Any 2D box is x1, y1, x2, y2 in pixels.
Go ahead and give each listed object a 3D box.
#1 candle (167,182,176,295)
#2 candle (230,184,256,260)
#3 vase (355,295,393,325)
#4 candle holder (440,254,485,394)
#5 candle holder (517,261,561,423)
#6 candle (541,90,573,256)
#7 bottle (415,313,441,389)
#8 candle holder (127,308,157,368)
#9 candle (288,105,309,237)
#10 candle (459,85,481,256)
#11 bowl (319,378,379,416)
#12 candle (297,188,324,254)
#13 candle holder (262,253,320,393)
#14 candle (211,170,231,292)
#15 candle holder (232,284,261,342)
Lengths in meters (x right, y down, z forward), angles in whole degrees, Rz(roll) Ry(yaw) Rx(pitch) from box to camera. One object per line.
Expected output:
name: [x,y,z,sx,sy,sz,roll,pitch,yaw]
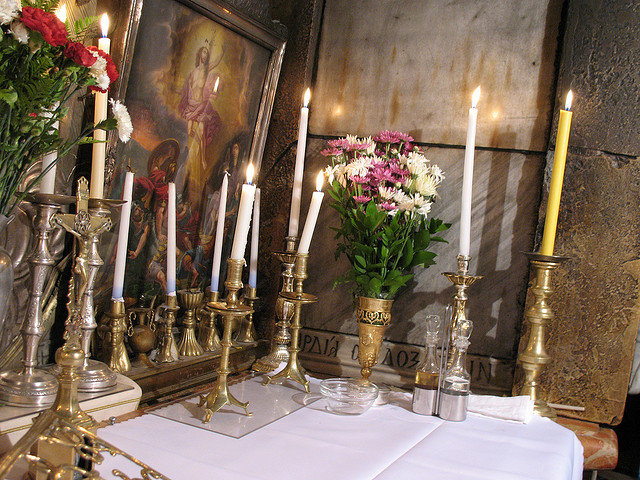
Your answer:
candle: [-0.455,-0.002,1.917,0.023,0.340,0.048,0,12,-19]
candle: [-0.198,-0.044,1.590,0.055,0.198,0.055,1,12,-5]
vase: [0.170,0.224,1.986,0.085,0.083,0.096,5,-9,-1]
candle holder: [0.451,0.263,2.008,0.117,0.407,0.116,1,-7,33]
candle holder: [0.681,0.307,2.024,0.116,0.559,0.117,5,12,13]
candle: [0.754,-0.205,2.003,0.085,0.531,0.101,6,13,18]
bottle: [0.338,0.331,1.902,0.070,0.217,0.139,7,11,11]
candle holder: [-0.521,0.285,1.877,0.077,0.188,0.091,11,10,18]
candle: [-0.083,-0.225,2.068,0.061,0.429,0.068,5,14,15]
candle: [0.490,-0.216,2.039,0.055,0.550,0.222,7,12,12]
bowl: [0.086,0.476,1.854,0.167,0.081,0.174,3,-2,0]
candle: [-0.033,-0.049,1.842,0.054,0.191,0.066,6,11,-23]
candle holder: [-0.057,0.237,1.975,0.152,0.465,0.151,4,-3,35]
candle: [-0.331,-0.025,2.015,0.060,0.375,0.059,5,10,14]
candle holder: [-0.265,0.289,2.266,0.095,0.239,0.065,11,15,34]
